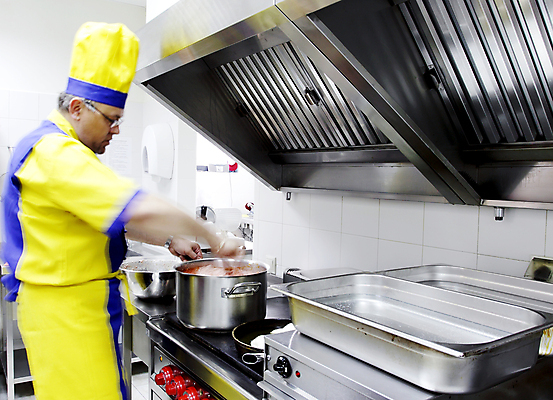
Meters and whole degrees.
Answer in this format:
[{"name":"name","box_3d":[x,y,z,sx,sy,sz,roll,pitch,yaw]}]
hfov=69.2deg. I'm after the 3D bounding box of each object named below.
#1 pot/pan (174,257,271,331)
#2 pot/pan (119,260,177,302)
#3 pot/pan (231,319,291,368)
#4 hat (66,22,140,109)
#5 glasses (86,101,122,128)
[{"name":"pot/pan","box_3d":[-0.271,0.472,1.928,0.404,0.246,0.465,2,-2,-11]},{"name":"pot/pan","box_3d":[-0.752,0.464,2.339,0.331,0.162,0.331,4,5,8]},{"name":"pot/pan","box_3d":[-0.066,0.560,1.658,0.230,0.048,0.211,-10,7,-23]},{"name":"hat","box_3d":[-0.680,-0.533,1.577,0.241,0.315,0.192,19,7,31]},{"name":"glasses","box_3d":[-0.661,-0.324,1.520,0.097,0.029,0.074,34,4,7]}]
